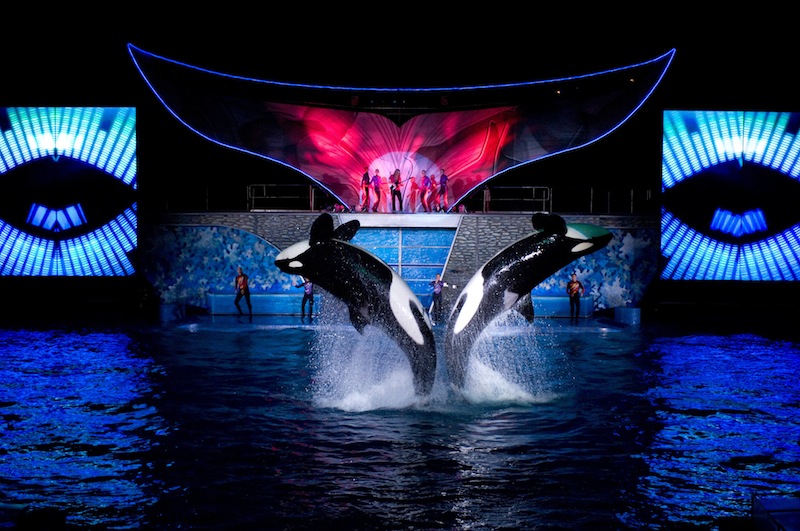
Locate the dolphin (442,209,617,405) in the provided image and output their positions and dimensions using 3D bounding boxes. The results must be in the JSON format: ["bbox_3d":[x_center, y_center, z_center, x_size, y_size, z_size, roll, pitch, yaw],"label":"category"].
[{"bbox_3d":[1.969,0.847,17.063,1.909,2.308,5.132,-11,-16,-47],"label":"dolphin"}]
